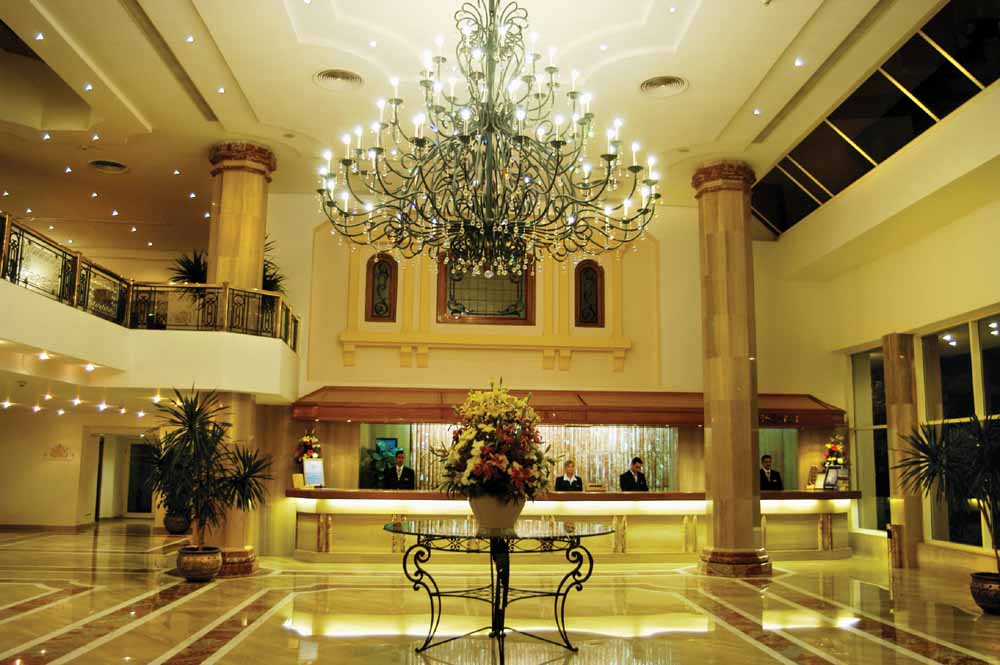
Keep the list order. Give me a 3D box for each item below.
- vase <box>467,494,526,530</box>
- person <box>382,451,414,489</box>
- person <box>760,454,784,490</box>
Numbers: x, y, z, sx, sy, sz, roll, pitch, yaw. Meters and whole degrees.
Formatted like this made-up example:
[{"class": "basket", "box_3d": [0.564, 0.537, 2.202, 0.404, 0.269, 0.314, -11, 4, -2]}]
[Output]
[{"class": "vase", "box_3d": [-0.086, 2.269, 9.402, 0.515, 0.324, 0.504, 11, -15, -43]}, {"class": "person", "box_3d": [-2.266, 3.048, 16.615, 0.611, 0.841, 1.227, 2, -14, -13]}, {"class": "person", "box_3d": [6.192, 3.138, 16.950, 0.410, 0.878, 1.858, -6, -14, 18]}]
